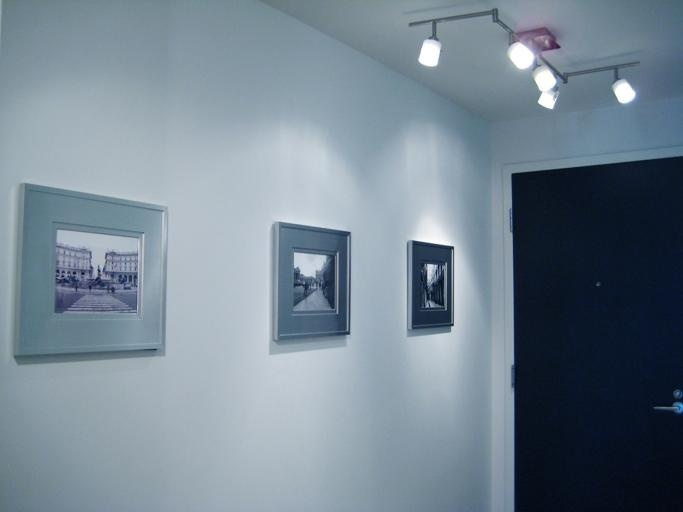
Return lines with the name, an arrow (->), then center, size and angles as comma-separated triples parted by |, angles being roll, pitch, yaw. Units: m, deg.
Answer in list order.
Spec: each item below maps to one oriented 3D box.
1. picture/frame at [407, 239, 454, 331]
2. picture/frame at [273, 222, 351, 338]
picture/frame -> 0.512, 0.175, 3.047 | 0.035, 0.559, 0.488 | 1, 2, 37
picture/frame -> -0.150, 0.114, 2.350 | 0.033, 0.569, 0.479 | -1, 0, 37
